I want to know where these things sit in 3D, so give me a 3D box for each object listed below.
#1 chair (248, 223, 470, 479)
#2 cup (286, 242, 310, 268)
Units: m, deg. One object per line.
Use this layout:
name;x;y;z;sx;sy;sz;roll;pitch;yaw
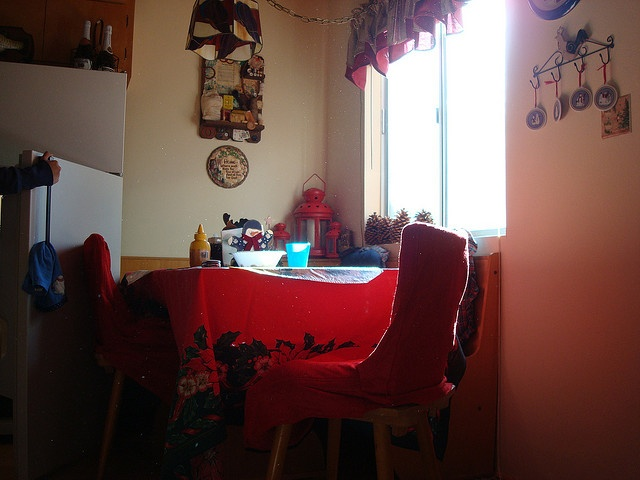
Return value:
chair;0.221;0.364;2.043;0.714;0.961;0.606;2;-5;23
cup;-0.105;0.069;2.456;0.096;0.120;0.100;1;1;0
